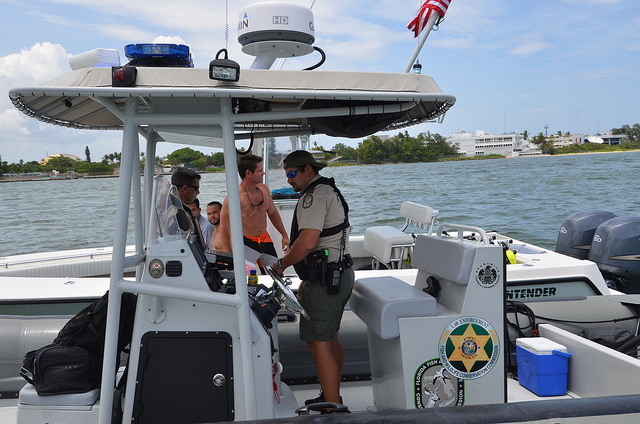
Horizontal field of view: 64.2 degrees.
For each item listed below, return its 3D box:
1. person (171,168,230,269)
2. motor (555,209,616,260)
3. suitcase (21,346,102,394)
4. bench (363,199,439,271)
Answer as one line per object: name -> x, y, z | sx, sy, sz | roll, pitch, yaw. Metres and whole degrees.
person -> -0.857, 0.041, 3.494 | 0.420, 0.663, 0.386 | 1, 7, -18
motor -> 3.652, 0.219, 7.050 | 0.888, 0.640, 0.520 | -14, 17, -19
suitcase -> -1.752, 1.020, 3.489 | 0.510, 0.216, 0.661 | 3, -6, -32
bench -> 0.991, 0.392, 6.089 | 0.837, 0.925, 0.882 | -6, 10, -2
